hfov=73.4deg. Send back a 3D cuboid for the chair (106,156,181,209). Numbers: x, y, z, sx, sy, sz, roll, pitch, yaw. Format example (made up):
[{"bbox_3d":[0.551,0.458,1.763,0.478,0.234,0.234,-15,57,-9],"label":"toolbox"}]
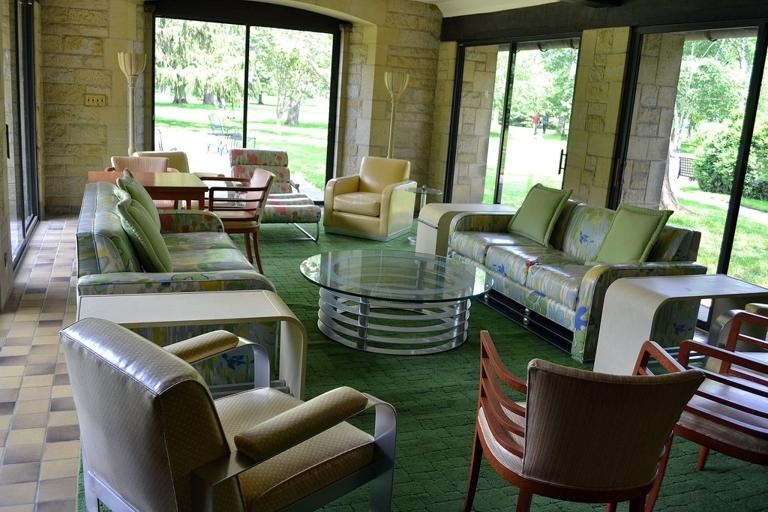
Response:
[{"bbox_3d":[-2.704,-0.880,5.833,0.714,0.884,0.827,-3,15,-23],"label":"chair"}]

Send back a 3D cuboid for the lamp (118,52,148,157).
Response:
[{"bbox_3d":[-3.370,-2.066,6.987,0.315,1.366,0.996,-6,21,-26],"label":"lamp"}]

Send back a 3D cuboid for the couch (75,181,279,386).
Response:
[{"bbox_3d":[-1.295,0.134,3.205,0.781,0.717,1.466,-4,16,-22],"label":"couch"}]

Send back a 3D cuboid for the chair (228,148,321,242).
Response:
[{"bbox_3d":[-1.467,-0.915,7.037,1.020,1.100,1.610,-2,29,-29],"label":"chair"}]

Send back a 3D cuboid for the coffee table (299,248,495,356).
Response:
[{"bbox_3d":[0.097,0.361,4.186,1.094,0.367,1.058,1,11,-1],"label":"coffee table"}]

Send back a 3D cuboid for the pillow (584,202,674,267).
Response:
[{"bbox_3d":[2.062,-0.161,4.321,0.168,0.540,0.496,29,-3,-31],"label":"pillow"}]
